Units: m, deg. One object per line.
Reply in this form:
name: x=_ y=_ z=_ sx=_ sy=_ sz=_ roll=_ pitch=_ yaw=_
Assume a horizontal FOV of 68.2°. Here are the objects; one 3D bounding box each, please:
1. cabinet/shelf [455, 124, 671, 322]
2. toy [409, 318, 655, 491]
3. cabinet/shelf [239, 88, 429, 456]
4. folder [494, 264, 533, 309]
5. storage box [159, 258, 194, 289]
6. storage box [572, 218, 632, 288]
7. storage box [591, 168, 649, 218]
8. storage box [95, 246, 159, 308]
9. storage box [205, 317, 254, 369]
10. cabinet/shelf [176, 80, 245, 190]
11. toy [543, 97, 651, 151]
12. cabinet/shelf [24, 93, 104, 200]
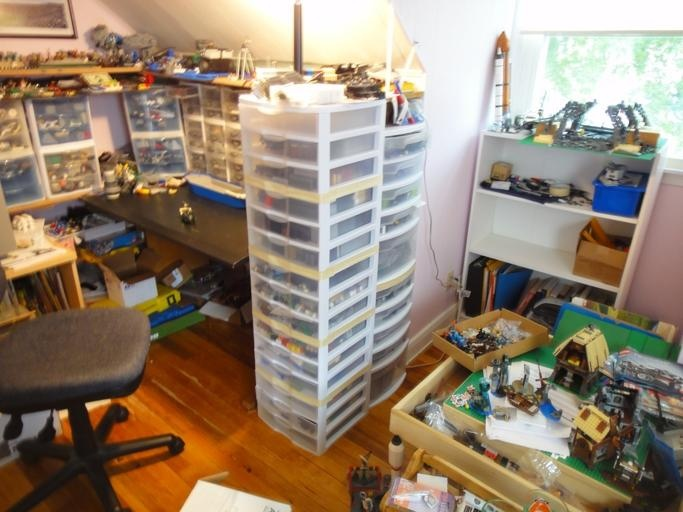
cabinet/shelf: x=1.234 y=-0.193 z=2.743 sx=0.824 sy=0.996 sz=0.327 roll=26 pitch=36 yaw=32
toy: x=0.689 y=0.580 z=1.757 sx=0.700 sy=0.153 sz=0.599 roll=-10 pitch=26 yaw=-22
cabinet/shelf: x=0.000 y=0.086 z=2.251 sx=0.791 sy=1.622 sz=0.398 roll=-11 pitch=27 yaw=-23
folder: x=1.049 y=0.195 z=3.093 sx=0.095 sy=0.271 sz=0.288 roll=23 pitch=-13 yaw=-37
storage box: x=-1.042 y=0.118 z=3.153 sx=0.152 sy=0.104 sz=0.083 roll=-41 pitch=38 yaw=-11
storage box: x=1.401 y=-0.009 z=2.674 sx=0.208 sy=0.272 sz=0.282 roll=16 pitch=31 yaw=32
storage box: x=1.385 y=-0.311 z=2.512 sx=0.223 sy=0.170 sz=0.267 roll=14 pitch=28 yaw=28
storage box: x=-1.224 y=0.108 z=3.045 sx=0.333 sy=0.330 sz=0.333 roll=25 pitch=36 yaw=36
storage box: x=-0.648 y=0.504 z=3.028 sx=0.326 sy=0.074 sz=0.205 roll=18 pitch=32 yaw=28
cabinet/shelf: x=-0.721 y=-0.684 z=2.821 sx=0.539 sy=0.526 sz=0.292 roll=23 pitch=37 yaw=29
toy: x=1.305 y=-0.667 z=2.556 sx=0.552 sy=0.213 sz=0.324 roll=13 pitch=27 yaw=27
cabinet/shelf: x=-1.623 y=-0.650 z=2.851 sx=0.369 sy=0.554 sz=0.360 roll=-17 pitch=36 yaw=-36
